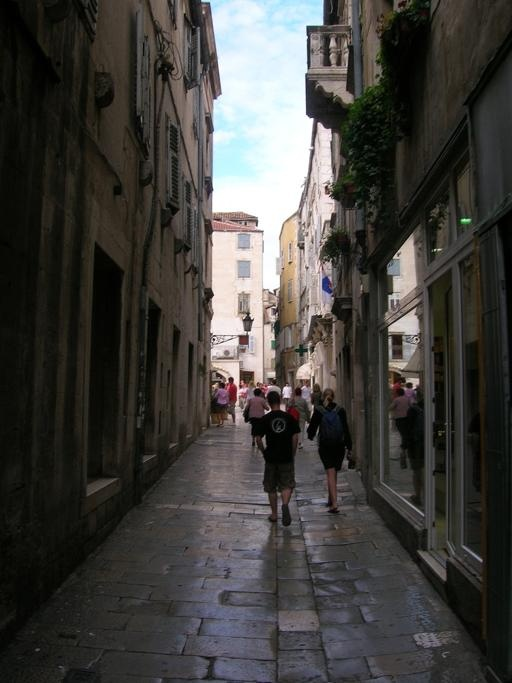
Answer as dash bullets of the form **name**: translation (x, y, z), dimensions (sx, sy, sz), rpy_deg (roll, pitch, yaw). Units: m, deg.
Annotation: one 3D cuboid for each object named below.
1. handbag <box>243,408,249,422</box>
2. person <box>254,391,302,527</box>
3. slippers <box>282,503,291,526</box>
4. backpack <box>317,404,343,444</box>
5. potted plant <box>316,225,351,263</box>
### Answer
- **handbag**: translation (-0.245, 1.829, 16.073), dimensions (0.144, 0.303, 0.411), rpy_deg (1, -5, -3)
- **person**: translation (0.278, 1.409, 8.084), dimensions (0.557, 1.579, 1.730), rpy_deg (1, -5, 0)
- **slippers**: translation (0.348, 1.967, 7.282), dimensions (0.067, 0.318, 0.106), rpy_deg (-4, -12, 2)
- **backpack**: translation (1.005, 1.159, 8.845), dimensions (0.326, 0.739, 0.413), rpy_deg (1, -41, 1)
- **potted plant**: translation (2.002, -2.270, 16.009), dimensions (0.640, 0.807, 0.786), rpy_deg (25, -1, 10)
